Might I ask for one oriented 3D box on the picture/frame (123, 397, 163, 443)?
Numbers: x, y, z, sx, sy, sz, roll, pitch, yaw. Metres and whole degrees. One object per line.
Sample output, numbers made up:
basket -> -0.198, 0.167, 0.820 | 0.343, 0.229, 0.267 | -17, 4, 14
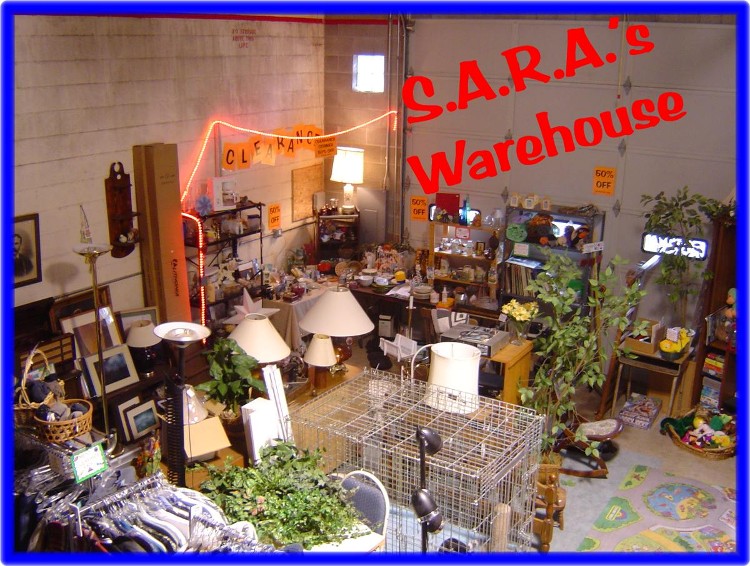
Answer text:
picture/frame -> -2.303, 1.366, 5.426 | 0.396, 0.350, 0.039 | -23, -12, 13

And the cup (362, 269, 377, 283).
cup -> -0.086, -0.119, 8.764 | 0.215, 0.157, 0.166 | -4, 13, -17

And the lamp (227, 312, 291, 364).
lamp -> -1.130, 0.527, 5.124 | 0.669, 0.434, 0.686 | 2, 15, -15

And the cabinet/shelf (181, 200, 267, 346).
cabinet/shelf -> -2.307, -0.166, 7.656 | 0.411, 1.301, 0.871 | -18, 14, -2

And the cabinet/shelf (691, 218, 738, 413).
cabinet/shelf -> 4.402, 0.416, 6.864 | 0.526, 2.506, 0.427 | 9, 15, 31

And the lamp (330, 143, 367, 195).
lamp -> -0.563, -1.940, 9.236 | 0.690, 0.943, 0.691 | -9, 22, -35

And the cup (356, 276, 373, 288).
cup -> -0.174, -0.017, 8.722 | 0.200, 0.125, 0.176 | -1, 10, -16

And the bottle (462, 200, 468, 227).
bottle -> 1.426, -1.118, 8.578 | 0.108, 0.391, 0.186 | 4, 13, 9

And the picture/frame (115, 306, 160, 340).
picture/frame -> -2.790, 0.471, 6.305 | 0.376, 0.266, 0.038 | -8, -17, -43

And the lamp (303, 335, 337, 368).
lamp -> -0.536, 0.693, 5.506 | 0.322, 0.431, 0.314 | 0, 9, -3

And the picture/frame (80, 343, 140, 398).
picture/frame -> -2.808, 0.933, 5.850 | 0.557, 0.432, 0.024 | -19, 2, 20

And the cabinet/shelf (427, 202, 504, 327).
cabinet/shelf -> 1.377, -0.430, 8.540 | 1.254, 1.864, 1.288 | 5, 13, 15
